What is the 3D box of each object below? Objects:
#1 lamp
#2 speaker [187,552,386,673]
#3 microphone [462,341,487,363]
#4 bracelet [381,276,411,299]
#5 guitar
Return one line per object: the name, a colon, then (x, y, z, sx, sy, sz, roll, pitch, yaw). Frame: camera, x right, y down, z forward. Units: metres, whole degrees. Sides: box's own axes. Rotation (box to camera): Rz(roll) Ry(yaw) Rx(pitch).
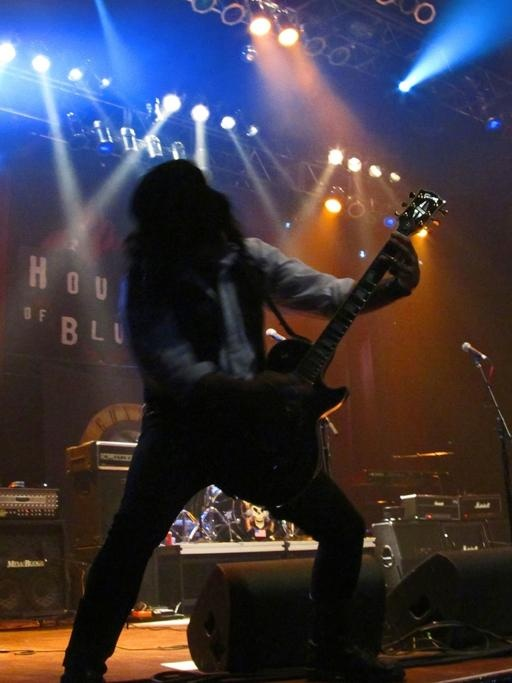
lamp: (-1.371, -2.109, 6.881, 1.256, 0.364, 0.229, 4, -5, -30)
speaker: (0.090, 0.857, 2.240, 0.648, 0.383, 0.444, 7, -16, -28)
microphone: (2.411, 0.100, 7.175, 0.477, 0.131, 0.127, 23, -53, -39)
bracelet: (0.433, -0.170, 2.029, 0.036, 0.088, 0.015, 43, -24, 20)
guitar: (0.207, 0.024, 1.933, 0.336, 0.912, 0.728, -1, -6, 33)
